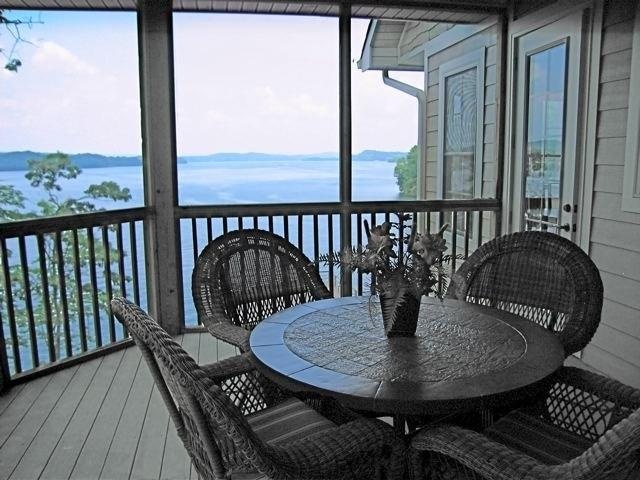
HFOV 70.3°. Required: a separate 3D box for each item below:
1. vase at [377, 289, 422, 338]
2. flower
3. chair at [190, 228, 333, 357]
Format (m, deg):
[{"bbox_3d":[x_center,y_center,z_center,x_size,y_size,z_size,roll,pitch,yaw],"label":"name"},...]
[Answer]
[{"bbox_3d":[0.329,0.294,1.933,0.186,0.208,0.183,-1,6,8],"label":"vase"},{"bbox_3d":[0.292,0.170,1.929,0.378,0.419,0.622,-7,-4,-27],"label":"flower"},{"bbox_3d":[-0.455,0.272,2.931,0.744,0.874,0.649,-23,32,-32],"label":"chair"}]
